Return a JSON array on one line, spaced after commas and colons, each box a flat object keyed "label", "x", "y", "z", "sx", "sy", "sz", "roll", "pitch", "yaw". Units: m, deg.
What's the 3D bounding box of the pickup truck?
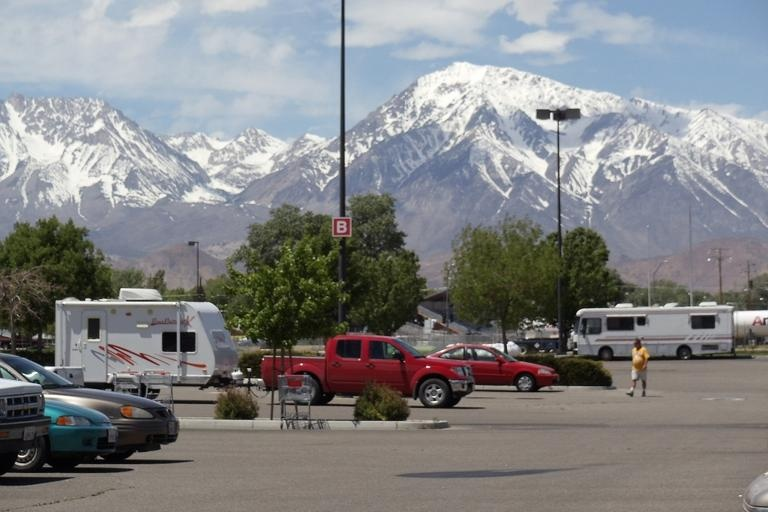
[{"label": "pickup truck", "x": -0.477, "y": 4.864, "z": 61.845, "sx": 8.688, "sy": 2.813, "sz": 3.698, "roll": 0, "pitch": -3, "yaw": 12}]

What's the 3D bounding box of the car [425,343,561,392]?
[{"label": "car", "x": 5.212, "y": 5.352, "z": 65.247, "sx": 8.176, "sy": 2.649, "sz": 3.741, "roll": -1, "pitch": -1, "yaw": -1}]
